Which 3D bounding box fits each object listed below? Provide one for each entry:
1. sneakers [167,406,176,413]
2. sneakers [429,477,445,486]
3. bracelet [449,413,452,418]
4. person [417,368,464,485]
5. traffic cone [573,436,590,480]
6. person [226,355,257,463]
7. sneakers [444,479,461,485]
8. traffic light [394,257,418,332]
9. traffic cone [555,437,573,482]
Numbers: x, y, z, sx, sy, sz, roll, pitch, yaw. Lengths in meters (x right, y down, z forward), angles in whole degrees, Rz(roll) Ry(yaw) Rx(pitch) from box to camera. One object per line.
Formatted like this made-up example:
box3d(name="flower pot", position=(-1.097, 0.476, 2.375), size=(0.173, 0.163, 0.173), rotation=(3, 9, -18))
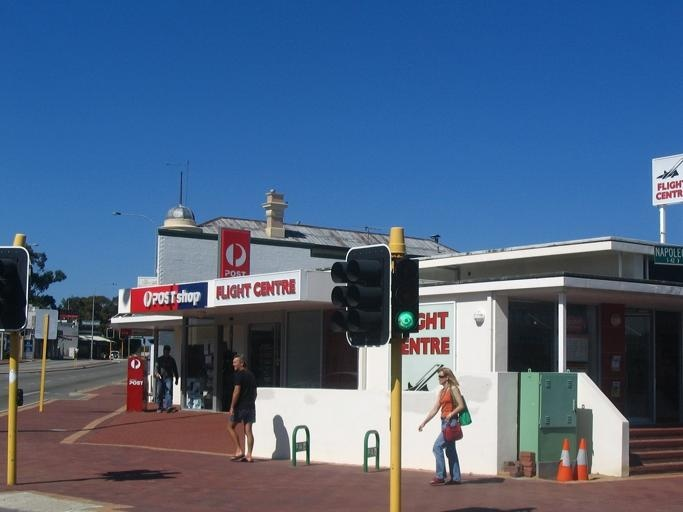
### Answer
box3d(name="sneakers", position=(-5.645, 5.147, 31.805), size=(0.126, 0.174, 0.394), rotation=(-7, -16, 20))
box3d(name="sneakers", position=(1.783, 4.173, 17.675), size=(0.309, 0.154, 0.284), rotation=(0, -8, -1))
box3d(name="bracelet", position=(2.006, 2.968, 17.667), size=(0.097, 0.110, 0.041), rotation=(0, -7, 1))
box3d(name="person", position=(1.941, 3.189, 17.939), size=(0.734, 2.134, 0.663), rotation=(0, -7, -1))
box3d(name="traffic cone", position=(4.703, 3.974, 18.712), size=(0.247, 0.796, 0.801), rotation=(-2, -8, 13))
box3d(name="person", position=(-2.098, 3.241, 20.245), size=(0.499, 2.221, 0.622), rotation=(-4, -8, 26))
box3d(name="sneakers", position=(2.072, 4.215, 17.759), size=(0.279, 0.071, 0.206), rotation=(-2, -9, 10))
box3d(name="traffic light", position=(0.927, 0.589, 14.041), size=(0.384, 1.159, 0.229), rotation=(0, -7, -1))
box3d(name="traffic cone", position=(4.305, 3.946, 18.475), size=(0.309, 0.798, 0.630), rotation=(-2, -8, 13))
